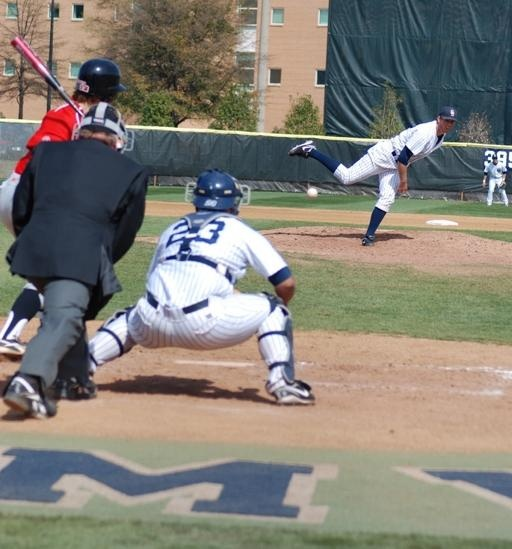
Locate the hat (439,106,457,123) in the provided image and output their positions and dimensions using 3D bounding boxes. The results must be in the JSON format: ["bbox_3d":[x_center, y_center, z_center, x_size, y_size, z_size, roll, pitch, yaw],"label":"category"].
[{"bbox_3d":[2.470,-2.036,10.258,0.200,0.123,0.253,6,13,-10],"label":"hat"}]

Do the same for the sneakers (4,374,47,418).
[{"bbox_3d":[-0.951,0.539,3.489,0.113,0.117,0.278,6,-17,25],"label":"sneakers"}]

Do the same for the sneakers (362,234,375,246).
[{"bbox_3d":[1.505,-0.453,10.801,0.162,0.146,0.252,4,10,5],"label":"sneakers"}]

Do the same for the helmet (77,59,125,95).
[{"bbox_3d":[-0.847,-1.101,4.492,0.279,0.164,0.205,-2,19,-3],"label":"helmet"}]

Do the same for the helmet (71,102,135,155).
[{"bbox_3d":[-0.704,-0.702,3.847,0.249,0.215,0.275,6,9,-2],"label":"helmet"}]

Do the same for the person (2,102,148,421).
[{"bbox_3d":[-0.910,0.023,3.665,0.457,1.275,0.777,12,14,36],"label":"person"}]

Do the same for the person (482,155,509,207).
[{"bbox_3d":[6.788,-2.632,22.569,0.821,1.374,2.346,7,10,14],"label":"person"}]

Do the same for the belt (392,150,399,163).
[{"bbox_3d":[1.850,-1.556,10.718,0.078,0.123,0.104,-4,9,-17],"label":"belt"}]

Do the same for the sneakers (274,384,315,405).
[{"bbox_3d":[0.204,0.613,4.098,0.272,0.105,0.086,0,1,-14],"label":"sneakers"}]

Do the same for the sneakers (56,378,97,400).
[{"bbox_3d":[-0.882,0.568,3.929,0.164,0.056,0.148,1,0,-25],"label":"sneakers"}]
